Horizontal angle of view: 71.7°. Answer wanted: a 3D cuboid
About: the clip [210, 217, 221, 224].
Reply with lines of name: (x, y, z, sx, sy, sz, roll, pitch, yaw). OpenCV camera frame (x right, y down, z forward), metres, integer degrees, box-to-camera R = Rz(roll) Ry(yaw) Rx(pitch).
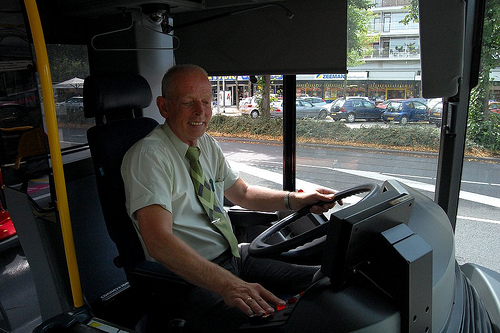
clip: (-0.202, 0.320, 2.026, 0.030, 0.009, 0.030, 19, 34, 35)

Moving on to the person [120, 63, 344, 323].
person: (-0.128, 0.189, 1.934, 1.143, 1.379, 1.163, -2, 6, 14)

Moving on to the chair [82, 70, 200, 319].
chair: (-0.656, 0.236, 1.973, 0.424, 1.499, 0.851, -6, 14, -23)
